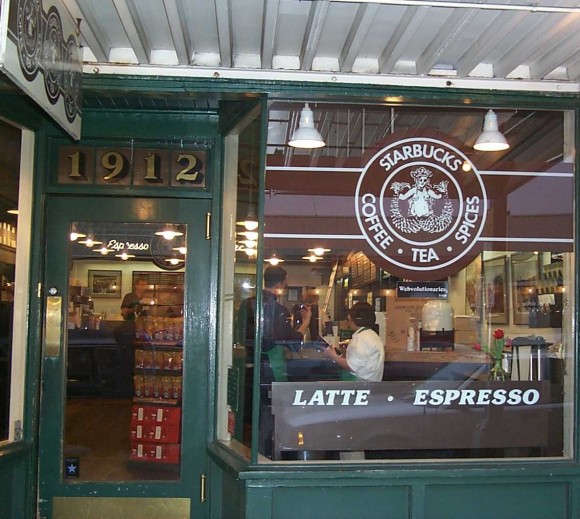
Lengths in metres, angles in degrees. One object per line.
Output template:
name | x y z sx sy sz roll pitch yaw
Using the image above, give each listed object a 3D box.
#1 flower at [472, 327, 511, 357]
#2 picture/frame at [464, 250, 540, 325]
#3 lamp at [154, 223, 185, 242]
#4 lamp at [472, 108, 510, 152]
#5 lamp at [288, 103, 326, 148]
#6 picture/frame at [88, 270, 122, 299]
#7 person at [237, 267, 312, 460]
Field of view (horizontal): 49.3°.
flower | 1.223 0.515 3.907 0.187 0.214 0.164 1 -15 -22
picture/frame | 1.280 0.161 3.864 0.386 0.453 0.033 2 -2 -10
lamp | -0.838 -0.190 4.402 0.138 0.106 0.146 1 1 -18
lamp | 1.263 -0.819 3.968 0.267 0.243 0.286 4 -6 0
lamp | 0.102 -0.839 3.866 0.208 0.250 0.220 -1 19 -1
picture/frame | -1.295 0.177 4.360 0.171 0.181 0.013 1 -3 -5
person | -0.147 0.609 3.834 0.220 1.118 0.592 7 -11 -43
